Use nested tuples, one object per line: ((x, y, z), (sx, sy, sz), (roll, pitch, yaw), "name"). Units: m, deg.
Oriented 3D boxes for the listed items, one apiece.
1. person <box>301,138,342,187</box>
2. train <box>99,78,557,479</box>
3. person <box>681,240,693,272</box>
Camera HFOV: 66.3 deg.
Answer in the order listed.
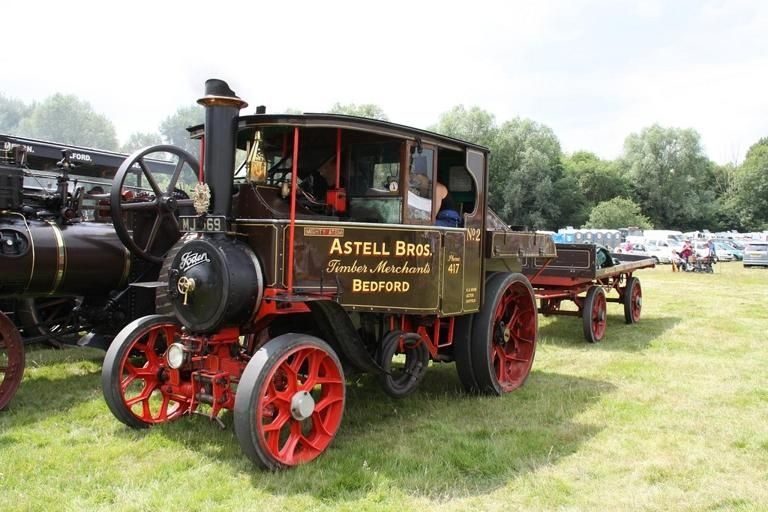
((-0.806, -1.213, 7.540), (0.697, 0.482, 0.178), (22, 17, 6), "person")
((-0.139, 0.199, 8.568), (2.706, 3.767, 6.724), (1, 0, 38), "train")
((15.495, 0.057, 29.814), (0.522, 1.372, 0.950), (5, 8, 26), "person")
